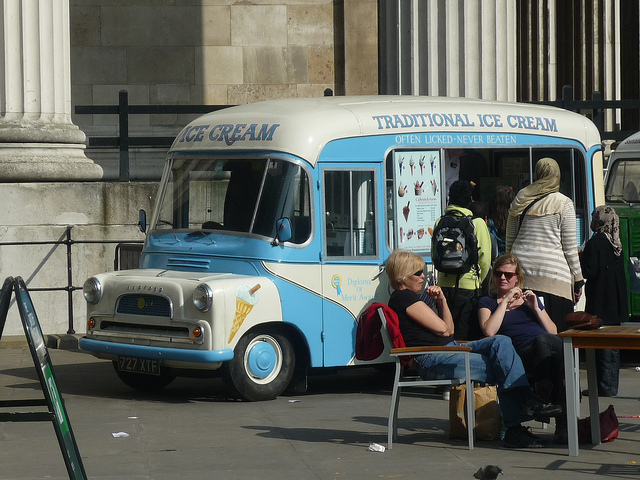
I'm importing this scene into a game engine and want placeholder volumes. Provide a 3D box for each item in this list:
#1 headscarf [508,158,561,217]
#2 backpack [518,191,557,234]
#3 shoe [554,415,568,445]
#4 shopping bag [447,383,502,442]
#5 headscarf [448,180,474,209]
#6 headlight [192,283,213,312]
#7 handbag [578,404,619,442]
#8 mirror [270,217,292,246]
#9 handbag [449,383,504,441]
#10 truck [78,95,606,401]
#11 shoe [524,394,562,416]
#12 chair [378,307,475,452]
[{"bbox_3d":[2.418,-0.610,13.533,0.374,0.758,0.409,-9,9,-31],"label":"headscarf"},{"bbox_3d":[2.391,-0.323,13.456,0.342,0.375,0.085,0,-1,25],"label":"backpack"},{"bbox_3d":[2.335,1.868,11.669,0.135,0.280,0.138,0,-1,22],"label":"shoe"},{"bbox_3d":[1.521,1.723,11.804,0.522,0.594,0.423,-2,-1,16],"label":"shopping bag"},{"bbox_3d":[1.616,-0.535,13.945,0.233,0.308,0.294,1,1,-4],"label":"headscarf"},{"bbox_3d":[-1.270,0.646,13.060,0.275,0.334,0.154,0,2,44],"label":"headlight"},{"bbox_3d":[2.718,1.826,11.782,0.508,0.332,0.214,1,-1,-22],"label":"handbag"},{"bbox_3d":[-0.435,-0.077,13.508,0.253,0.309,0.196,0,-1,-8],"label":"mirror"},{"bbox_3d":[1.548,1.707,11.806,0.558,0.641,0.441,-2,-1,12],"label":"handbag"},{"bbox_3d":[0.338,-0.001,15.166,5.958,3.315,3.160,0,0,-32],"label":"truck"},{"bbox_3d":[2.114,1.613,11.577,0.388,0.222,0.151,-3,0,4],"label":"shoe"},{"bbox_3d":[1.098,1.405,12.080,1.180,1.482,1.173,-6,-7,45],"label":"chair"}]
